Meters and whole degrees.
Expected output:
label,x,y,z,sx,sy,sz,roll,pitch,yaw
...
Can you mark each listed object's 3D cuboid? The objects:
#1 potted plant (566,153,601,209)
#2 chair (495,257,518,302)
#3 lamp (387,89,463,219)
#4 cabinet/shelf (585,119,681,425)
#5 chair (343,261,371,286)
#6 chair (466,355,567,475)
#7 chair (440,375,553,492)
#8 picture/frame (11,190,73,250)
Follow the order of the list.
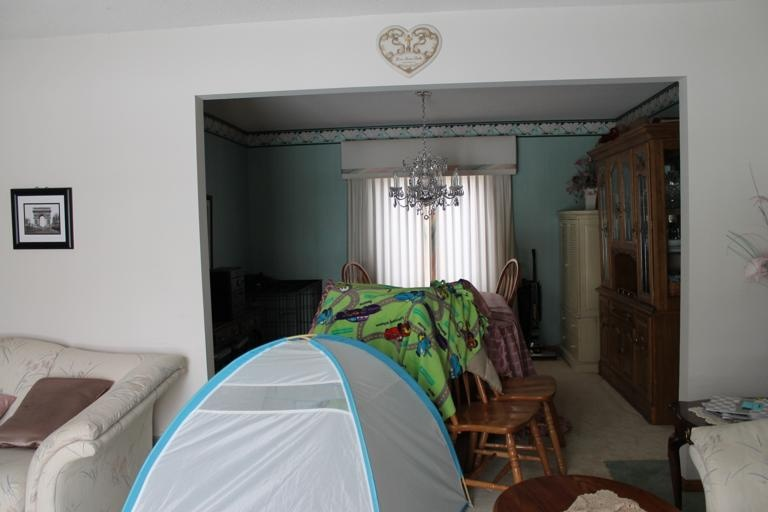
label,x,y,z,sx,sy,sz,roll,pitch,yaw
potted plant,2.326,-0.760,6.180,0.288,0.468,0.303,0,-14,-1
chair,1.234,0.241,5.393,0.216,0.415,0.843,0,4,11
lamp,0.446,-1.107,5.781,0.642,1.342,0.659,-2,-1,28
cabinet/shelf,2.324,0.110,4.997,0.367,2.589,1.020,-1,4,1
chair,-0.352,0.211,6.337,0.261,0.405,0.263,3,5,44
chair,1.006,1.082,4.249,0.723,1.175,0.711,-6,0,22
chair,0.763,1.099,3.728,0.621,0.986,0.615,-7,-1,-43
picture/frame,-2.599,-0.290,4.181,0.409,0.478,0.032,0,4,-1
